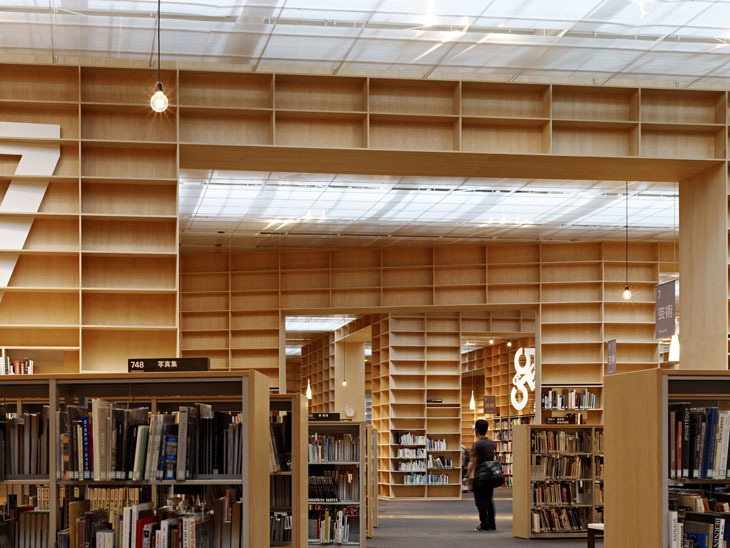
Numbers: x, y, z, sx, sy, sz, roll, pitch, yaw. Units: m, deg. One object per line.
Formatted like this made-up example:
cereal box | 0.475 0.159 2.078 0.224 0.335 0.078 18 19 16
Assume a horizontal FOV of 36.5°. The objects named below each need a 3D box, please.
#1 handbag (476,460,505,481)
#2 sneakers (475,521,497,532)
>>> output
handbag | 1.956 3.039 17.066 0.337 0.295 0.307 8 -51 13
sneakers | 1.894 3.933 17.147 0.133 0.129 0.316 3 -3 -14
